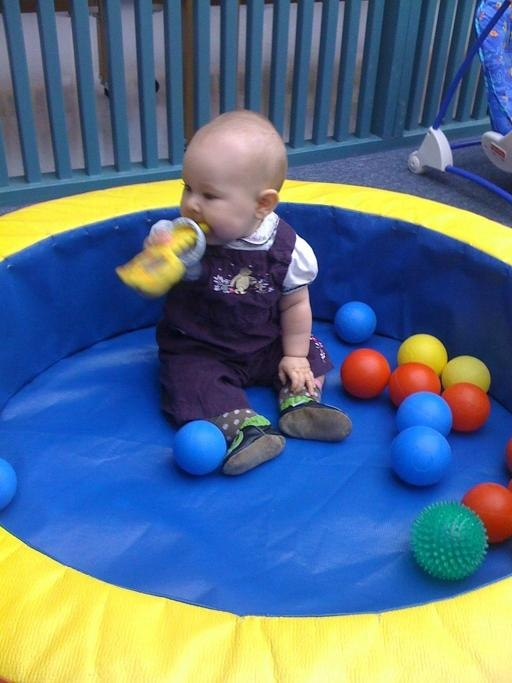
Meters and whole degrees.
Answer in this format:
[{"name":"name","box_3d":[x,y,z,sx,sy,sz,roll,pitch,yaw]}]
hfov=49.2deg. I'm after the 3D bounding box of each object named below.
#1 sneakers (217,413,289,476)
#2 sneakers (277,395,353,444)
[{"name":"sneakers","box_3d":[-0.032,0.189,1.001,0.132,0.072,0.088,-31,60,19]},{"name":"sneakers","box_3d":[0.106,0.148,1.029,0.127,0.066,0.050,-3,-7,26]}]
